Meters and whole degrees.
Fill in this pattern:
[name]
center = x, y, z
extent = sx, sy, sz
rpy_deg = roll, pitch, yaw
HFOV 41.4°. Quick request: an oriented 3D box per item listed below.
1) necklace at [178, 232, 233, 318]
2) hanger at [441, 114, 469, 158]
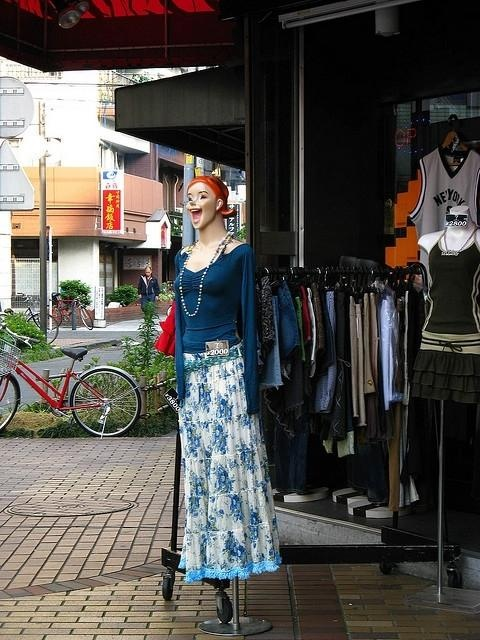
[necklace]
center = -0.148, -0.189, 2.531
extent = 0.061, 0.326, 0.208
rpy_deg = 18, -9, -35
[hanger]
center = 1.368, -1.168, 4.029
extent = 0.157, 0.314, 0.249
rpy_deg = -2, -3, 24
